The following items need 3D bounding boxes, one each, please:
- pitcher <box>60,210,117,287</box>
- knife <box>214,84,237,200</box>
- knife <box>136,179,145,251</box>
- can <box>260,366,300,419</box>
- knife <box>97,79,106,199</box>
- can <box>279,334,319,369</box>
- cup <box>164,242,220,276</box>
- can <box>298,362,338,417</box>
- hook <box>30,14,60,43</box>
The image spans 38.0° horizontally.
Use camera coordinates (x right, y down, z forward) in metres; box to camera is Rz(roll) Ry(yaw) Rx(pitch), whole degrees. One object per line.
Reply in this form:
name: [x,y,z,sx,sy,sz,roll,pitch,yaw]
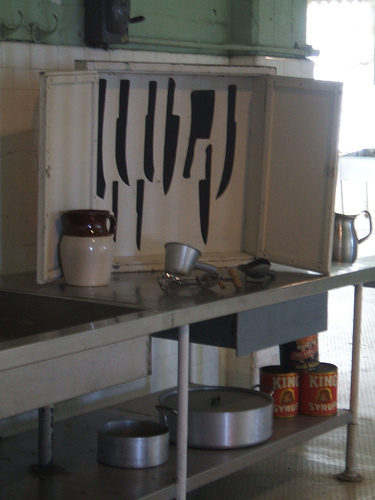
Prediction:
pitcher: [-0.289,-0.007,1.611,0.187,0.214,0.153,-2,6,-29]
knife: [0.164,-0.405,2.109,0.067,0.454,0.010,6,4,4]
knife: [-0.178,-0.124,1.945,0.009,0.253,0.027,5,-8,-23]
can: [0.358,0.534,2.069,0.143,0.160,0.148,-3,-3,31]
knife: [-0.289,-0.369,1.833,0.014,0.341,0.047,10,5,43]
can: [0.422,0.378,2.052,0.148,0.134,0.108,-7,5,9]
cup: [0.014,0.040,1.686,0.129,0.049,0.084,19,-14,-12]
can: [0.484,0.513,2.056,0.172,0.188,0.172,-1,2,1]
hook: [-0.469,-0.725,1.789,0.024,0.074,0.115,-4,6,39]
